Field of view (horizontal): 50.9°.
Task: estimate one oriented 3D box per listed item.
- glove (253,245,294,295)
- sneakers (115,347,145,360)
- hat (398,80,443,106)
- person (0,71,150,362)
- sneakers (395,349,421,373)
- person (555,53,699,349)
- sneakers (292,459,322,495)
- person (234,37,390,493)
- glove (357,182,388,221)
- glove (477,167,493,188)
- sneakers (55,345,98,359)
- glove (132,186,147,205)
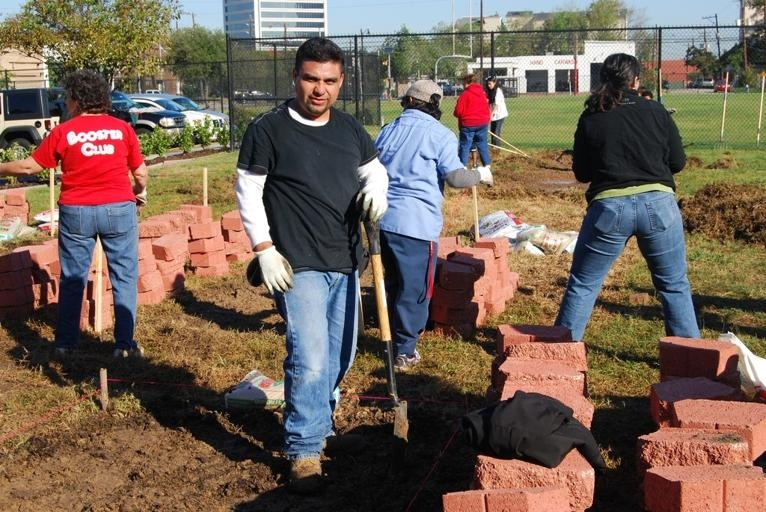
[{"bbox_3d":[-0.826,0.111,6.243,0.249,0.372,0.097,-25,3,-20],"label":"glove"},{"bbox_3d":[-2.599,1.004,8.260,0.208,0.091,0.126,6,11,-25],"label":"sneakers"},{"bbox_3d":[0.423,-1.648,8.068,0.301,0.191,0.235,19,25,3],"label":"hat"},{"bbox_3d":[-2.980,-0.437,8.222,0.979,2.811,0.757,-1,15,-3],"label":"person"},{"bbox_3d":[0.255,1.067,8.017,0.114,0.155,0.319,0,2,29],"label":"sneakers"},{"bbox_3d":[2.252,-0.485,7.315,1.199,2.568,0.636,4,15,12],"label":"person"},{"bbox_3d":[-0.600,1.727,6.344,0.253,0.228,0.194,-2,16,-8],"label":"sneakers"},{"bbox_3d":[-0.531,0.008,6.504,1.084,3.388,0.836,-12,19,-39],"label":"person"},{"bbox_3d":[-0.072,-0.436,6.522,0.202,0.306,0.140,0,3,-5],"label":"glove"},{"bbox_3d":[1.042,-0.807,8.149,0.113,0.162,0.361,-2,13,12],"label":"glove"},{"bbox_3d":[-3.174,1.004,8.222,0.179,0.083,0.255,9,-1,7],"label":"sneakers"},{"bbox_3d":[-2.612,-0.639,8.697,0.128,0.181,0.399,-1,-1,-14],"label":"glove"}]
